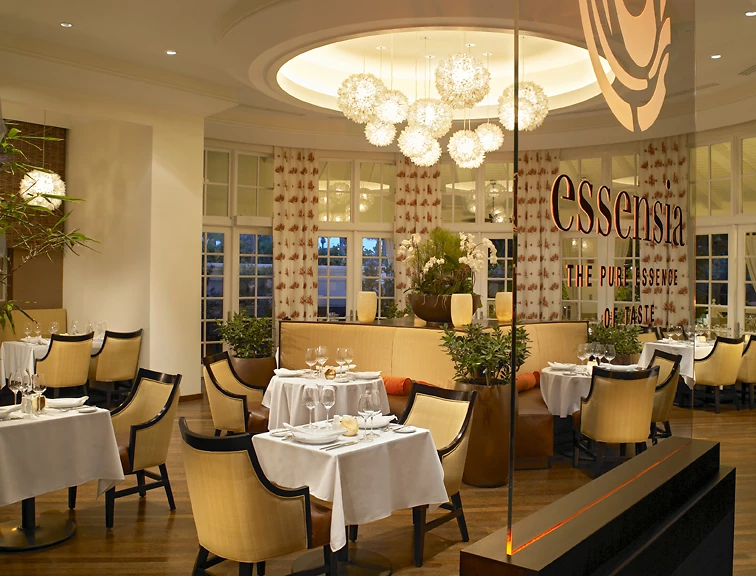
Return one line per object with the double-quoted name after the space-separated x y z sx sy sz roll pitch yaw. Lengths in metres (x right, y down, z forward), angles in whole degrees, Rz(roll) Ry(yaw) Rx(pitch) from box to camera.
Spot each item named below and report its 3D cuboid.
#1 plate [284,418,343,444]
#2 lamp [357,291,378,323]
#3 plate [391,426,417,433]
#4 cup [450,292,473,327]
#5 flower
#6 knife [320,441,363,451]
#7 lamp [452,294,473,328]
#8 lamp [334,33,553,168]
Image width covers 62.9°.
-0.406 0.946 4.059 0.344 0.094 0.343 -2 -2 28 "plate"
-0.149 0.255 7.962 0.287 0.545 0.340 0 -2 -2 "lamp"
0.172 0.964 4.198 0.142 0.019 0.213 0 -3 -32 "plate"
0.896 0.235 6.648 0.277 0.461 0.302 0 -8 0 "cup"
0.798 -0.265 7.285 1.295 1.076 1.148 1 -7 -8 "flower"
-0.235 0.988 3.869 0.028 0.014 0.276 5 0 31 "knife"
0.899 0.251 6.657 0.277 0.463 0.303 0 -8 -3 "lamp"
0.730 -2.252 7.206 1.924 1.161 2.293 -4 -19 6 "lamp"
